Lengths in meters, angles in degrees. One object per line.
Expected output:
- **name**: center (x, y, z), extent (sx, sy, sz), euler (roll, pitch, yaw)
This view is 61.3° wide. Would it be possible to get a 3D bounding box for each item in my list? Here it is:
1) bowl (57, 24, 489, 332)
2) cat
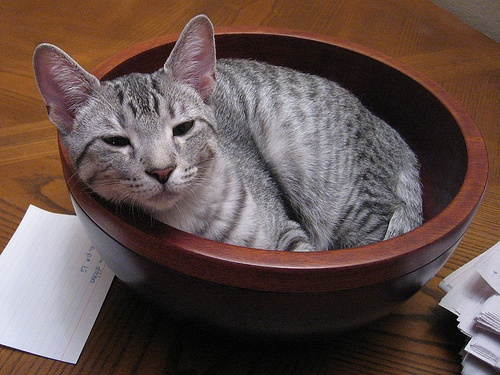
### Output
- **bowl**: center (0.110, -0.065, 0.971), extent (0.704, 0.257, 0.700), euler (3, 49, -4)
- **cat**: center (0.036, -0.128, 1.003), extent (0.538, 0.444, 0.767), euler (14, 26, 30)
